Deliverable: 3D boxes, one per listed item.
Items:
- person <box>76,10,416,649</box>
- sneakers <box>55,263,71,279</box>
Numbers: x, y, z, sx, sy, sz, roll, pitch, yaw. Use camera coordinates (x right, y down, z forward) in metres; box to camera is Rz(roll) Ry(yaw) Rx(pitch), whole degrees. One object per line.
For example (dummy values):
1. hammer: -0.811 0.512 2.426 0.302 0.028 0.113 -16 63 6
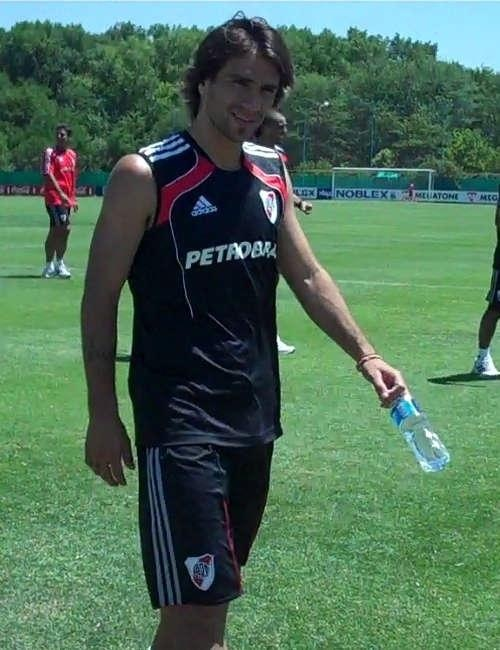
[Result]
1. person: -0.076 -0.072 1.905 0.612 1.400 0.802 10 14 35
2. sneakers: -2.694 -0.796 11.170 0.208 0.245 0.243 5 12 20
